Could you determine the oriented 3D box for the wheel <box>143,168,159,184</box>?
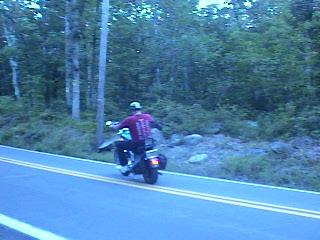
[{"bbox_3d":[-0.281,1.589,9.935,0.250,0.480,0.601,-4,4,-25],"label":"wheel"}]

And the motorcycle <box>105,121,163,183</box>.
[{"bbox_3d":[-0.586,1.044,10.370,1.615,1.577,0.770,7,11,34],"label":"motorcycle"}]
